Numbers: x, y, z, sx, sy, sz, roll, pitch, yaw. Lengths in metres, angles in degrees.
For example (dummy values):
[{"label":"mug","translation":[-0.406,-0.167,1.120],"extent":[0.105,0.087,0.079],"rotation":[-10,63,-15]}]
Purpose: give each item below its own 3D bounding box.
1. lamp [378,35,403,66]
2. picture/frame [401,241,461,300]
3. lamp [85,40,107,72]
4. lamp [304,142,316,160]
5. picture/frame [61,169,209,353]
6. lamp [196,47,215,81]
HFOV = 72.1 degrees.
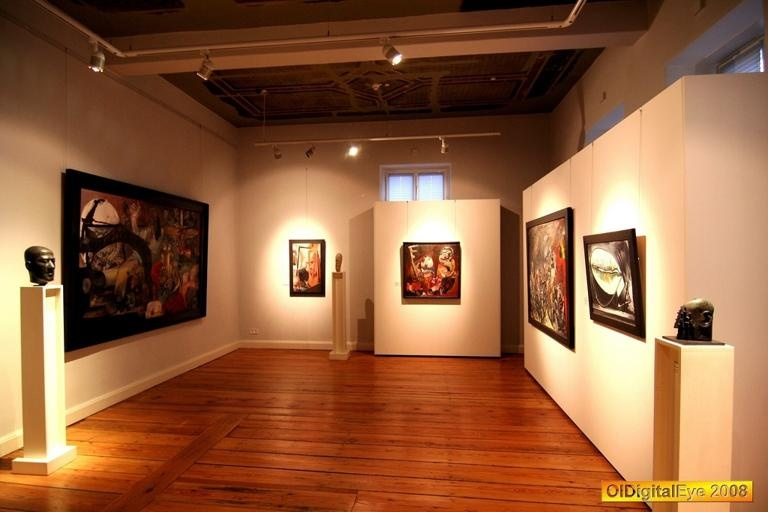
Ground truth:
[{"label":"lamp","translation":[0.104,-2.996,7.700],"extent":[0.270,0.389,0.326],"rotation":[-1,5,0]},{"label":"picture/frame","translation":[1.034,0.290,10.804],"extent":[1.151,1.109,0.127],"rotation":[0,1,4]},{"label":"lamp","translation":[-4.214,-2.944,7.816],"extent":[0.206,0.509,0.887],"rotation":[-3,6,-27]},{"label":"lamp","translation":[-1.564,-2.280,11.389],"extent":[0.189,0.193,0.373],"rotation":[11,41,16]},{"label":"picture/frame","translation":[-4.078,0.032,8.862],"extent":[2.924,2.269,0.067],"rotation":[2,3,19]},{"label":"lamp","translation":[-2.714,-2.927,8.113],"extent":[0.222,0.425,0.449],"rotation":[-2,5,-18]}]
